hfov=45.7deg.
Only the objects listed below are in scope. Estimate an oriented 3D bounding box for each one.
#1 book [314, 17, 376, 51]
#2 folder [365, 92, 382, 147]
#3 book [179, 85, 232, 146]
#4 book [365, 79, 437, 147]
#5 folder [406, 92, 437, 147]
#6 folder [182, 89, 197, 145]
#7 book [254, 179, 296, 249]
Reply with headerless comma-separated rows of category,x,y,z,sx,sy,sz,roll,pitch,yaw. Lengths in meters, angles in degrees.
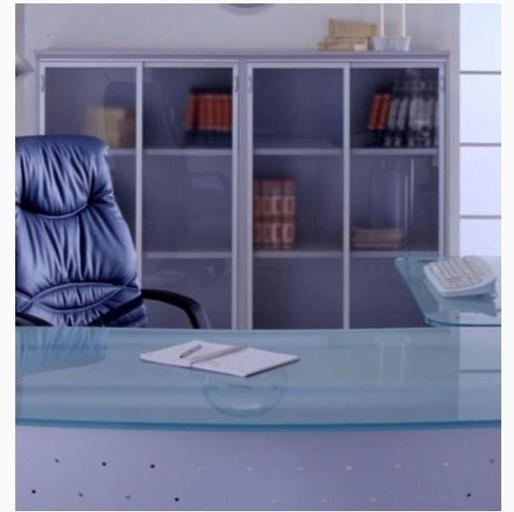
book,0.382,-0.913,2.540,0.249,0.122,0.136,1,10,6
folder,0.502,-0.586,2.614,0.038,0.176,0.158,4,-4,-14
book,-0.223,-0.571,2.570,0.195,0.238,0.217,1,0,-2
book,0.627,-0.567,2.708,0.299,0.369,0.244,2,-2,9
folder,0.701,-0.572,2.578,0.115,0.212,0.027,3,9,18
folder,-0.285,-0.599,2.596,0.033,0.165,0.149,5,4,7
book,0.076,-0.201,2.761,0.218,0.375,0.251,0,3,3
